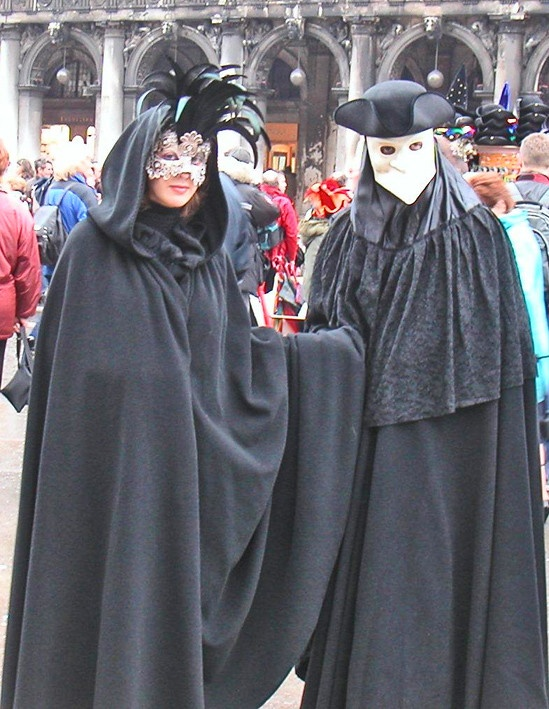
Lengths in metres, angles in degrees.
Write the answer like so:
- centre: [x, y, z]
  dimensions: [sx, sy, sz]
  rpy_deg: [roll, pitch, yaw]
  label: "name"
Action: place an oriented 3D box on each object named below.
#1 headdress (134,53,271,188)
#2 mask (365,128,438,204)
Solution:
- centre: [-0.196, -0.609, 1.991]
  dimensions: [0.298, 0.266, 0.140]
  rpy_deg: [16, -36, -35]
  label: "headdress"
- centre: [0.344, -0.506, 2.161]
  dimensions: [0.178, 0.207, 0.086]
  rpy_deg: [-15, 16, -6]
  label: "mask"
